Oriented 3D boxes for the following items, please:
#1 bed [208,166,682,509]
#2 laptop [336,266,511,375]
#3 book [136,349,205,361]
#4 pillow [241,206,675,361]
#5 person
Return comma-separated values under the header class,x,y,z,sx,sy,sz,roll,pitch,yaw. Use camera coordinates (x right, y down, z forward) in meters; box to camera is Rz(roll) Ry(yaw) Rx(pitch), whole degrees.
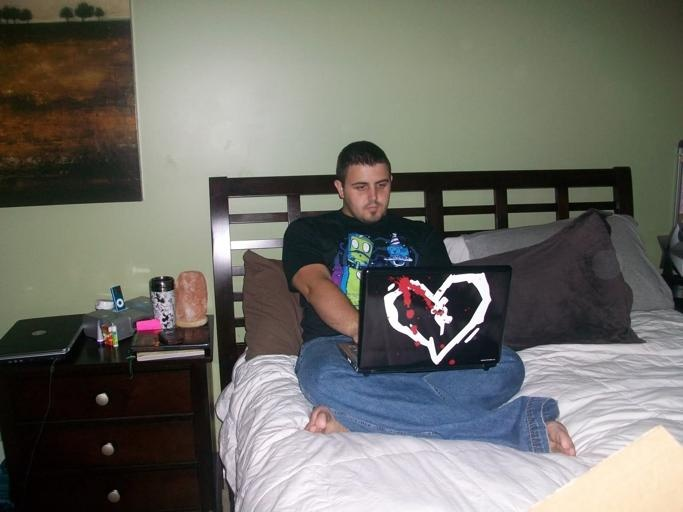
class,x,y,z,sx,sy,sz,roll,pitch,yaw
bed,0.314,0.305,2.128,1.431,1.357,1.123,-3,4,-6
laptop,0.292,0.198,1.939,0.544,0.385,0.362,-2,21,-8
book,-0.681,0.395,2.289,0.264,0.039,0.018,-4,11,-7
pillow,0.454,0.124,2.442,1.406,0.577,0.867,-8,40,-3
person,0.211,0.112,2.135,0.864,1.051,1.203,-2,7,-30
